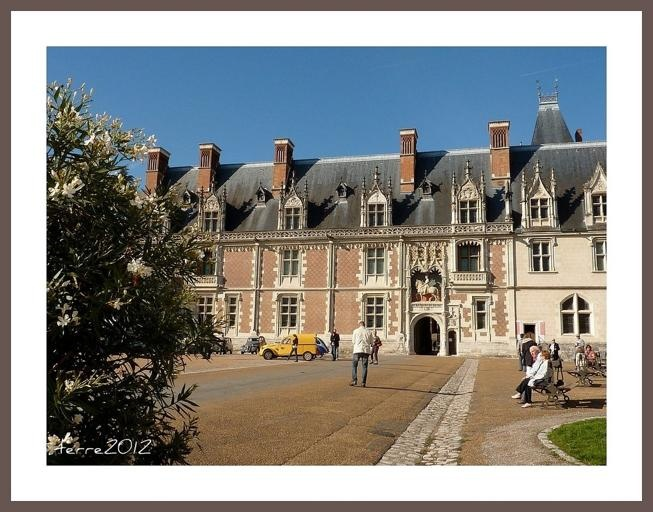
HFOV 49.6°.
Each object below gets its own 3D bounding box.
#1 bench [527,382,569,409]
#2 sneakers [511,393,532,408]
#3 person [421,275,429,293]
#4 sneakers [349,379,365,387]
[{"bbox_3d":[4.755,2.858,14.933,0.647,0.502,1.721,-4,-7,18],"label":"bench"},{"bbox_3d":[4.109,3.063,14.938,0.175,0.236,0.534,3,2,-4],"label":"sneakers"},{"bbox_3d":[4.846,1.380,34.469,0.240,0.812,0.656,-2,-6,7],"label":"person"},{"bbox_3d":[0.769,3.138,17.319,0.438,0.203,0.170,0,-14,18],"label":"sneakers"}]
